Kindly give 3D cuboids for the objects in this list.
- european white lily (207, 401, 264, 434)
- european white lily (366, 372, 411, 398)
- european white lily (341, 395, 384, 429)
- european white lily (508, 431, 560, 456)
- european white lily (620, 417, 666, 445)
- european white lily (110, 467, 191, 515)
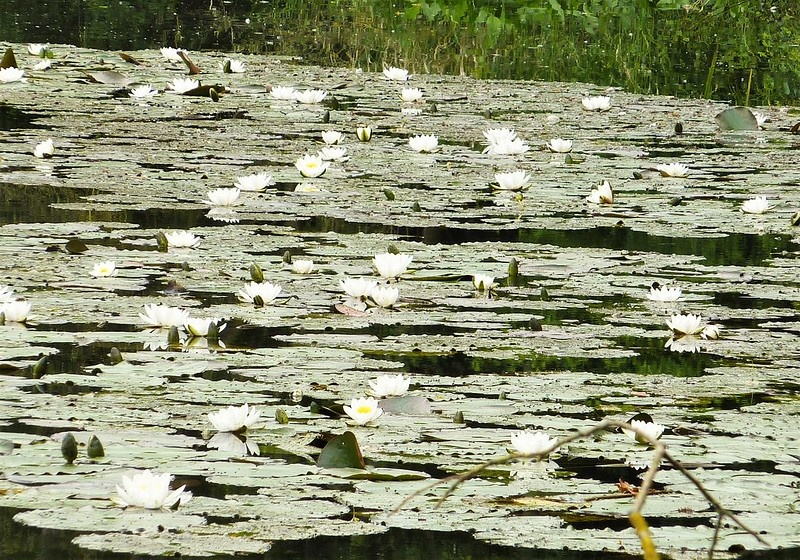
[{"bbox_3d":[-0.550,0.444,4.863,0.173,0.086,0.161,-2,9,-7],"label":"european white lily"},{"bbox_3d":[-0.052,0.356,5.020,0.106,0.045,0.092,5,16,30],"label":"european white lily"},{"bbox_3d":[-0.127,0.432,4.934,0.133,0.088,0.149,-1,9,-3],"label":"european white lily"},{"bbox_3d":[0.409,0.512,4.585,0.146,0.055,0.146,0,0,12],"label":"european white lily"},{"bbox_3d":[0.786,0.480,4.763,0.175,0.071,0.180,1,-7,-15],"label":"european white lily"},{"bbox_3d":[-0.764,0.636,4.493,0.173,0.065,0.139,1,4,23],"label":"european white lily"}]
